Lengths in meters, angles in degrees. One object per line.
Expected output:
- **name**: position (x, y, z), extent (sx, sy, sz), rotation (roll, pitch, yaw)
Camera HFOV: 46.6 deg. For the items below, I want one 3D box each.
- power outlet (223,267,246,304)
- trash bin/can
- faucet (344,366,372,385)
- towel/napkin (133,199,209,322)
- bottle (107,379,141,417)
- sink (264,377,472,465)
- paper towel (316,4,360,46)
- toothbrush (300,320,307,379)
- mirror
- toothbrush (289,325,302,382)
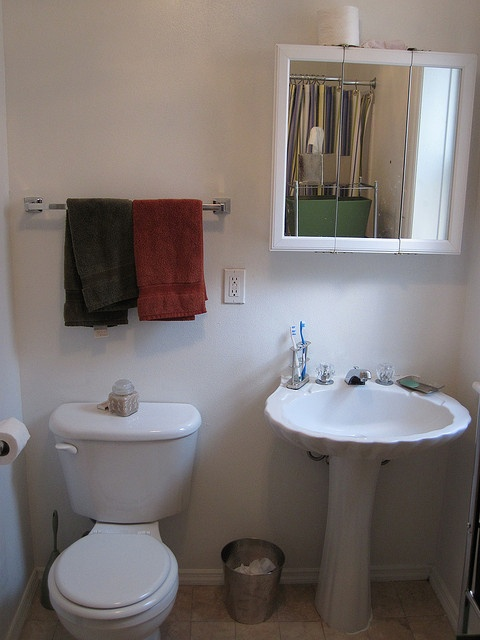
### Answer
- **power outlet**: position (-0.021, -0.116, 1.799), extent (0.080, 0.180, 0.018), rotation (0, 9, -5)
- **trash bin/can**: position (0.038, 0.879, 1.868), extent (0.179, 0.197, 0.213), rotation (5, 7, 19)
- **faucet**: position (0.370, 0.181, 1.760), extent (0.096, 0.078, 0.036), rotation (-1, -8, 23)
- **towel/napkin**: position (-0.244, -0.236, 1.721), extent (0.200, 0.081, 0.365), rotation (7, 55, 2)
- **bottle**: position (-0.364, 0.245, 1.730), extent (0.086, 0.153, 0.098), rotation (2, 3, 2)
- **sink**: position (0.364, 0.307, 1.597), extent (0.591, 0.139, 0.392), rotation (1, 10, -3)
- **paper towel**: position (0.285, -0.856, 1.625), extent (0.100, 0.099, 0.116), rotation (9, 28, 18)
- **toothbrush**: position (0.206, 0.095, 1.825), extent (0.018, 0.180, 0.013), rotation (0, 0, -14)
- **mirror**: position (0.385, -0.537, 1.686), extent (0.482, 0.626, 0.038), rotation (0, 14, -3)
- **toothbrush**: position (0.176, 0.111, 1.774), extent (0.032, 0.235, 0.021), rotation (9, 37, 22)
